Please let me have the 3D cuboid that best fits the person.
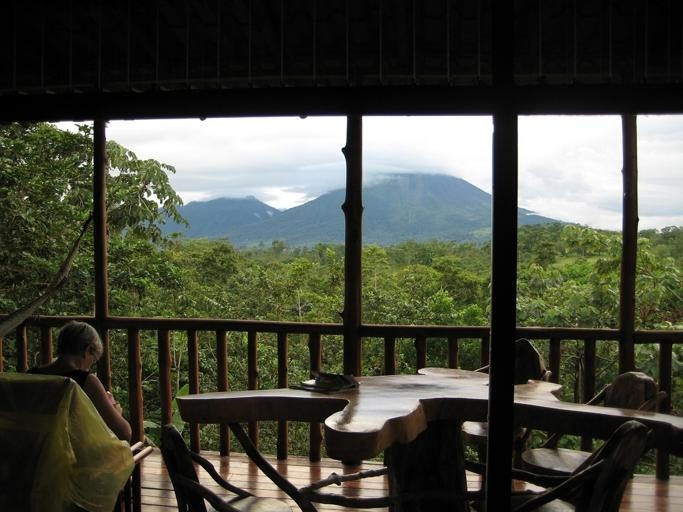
[{"bbox_3d":[-1.243,0.765,3.459,0.686,0.996,0.573,2,-4,11],"label":"person"}]
